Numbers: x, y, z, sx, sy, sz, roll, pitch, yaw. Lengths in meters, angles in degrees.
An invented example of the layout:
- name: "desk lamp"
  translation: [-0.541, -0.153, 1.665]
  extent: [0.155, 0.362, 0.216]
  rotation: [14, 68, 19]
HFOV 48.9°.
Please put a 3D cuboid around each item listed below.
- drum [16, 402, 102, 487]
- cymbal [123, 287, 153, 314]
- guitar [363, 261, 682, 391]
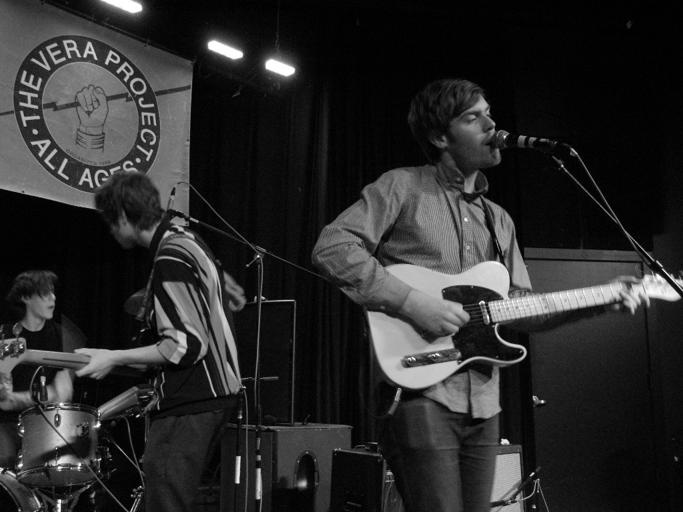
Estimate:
- name: "drum"
  translation: [-1.855, 1.270, 5.092]
  extent: [0.512, 0.510, 0.512]
  rotation: [14, -22, -41]
- name: "cymbal"
  translation: [-1.278, 0.282, 4.713]
  extent: [0.155, 0.167, 0.238]
  rotation: [-11, 16, -5]
- name: "guitar"
  translation: [0.701, 0.328, 3.682]
  extent: [1.172, 0.604, 0.259]
  rotation: [1, -9, -23]
